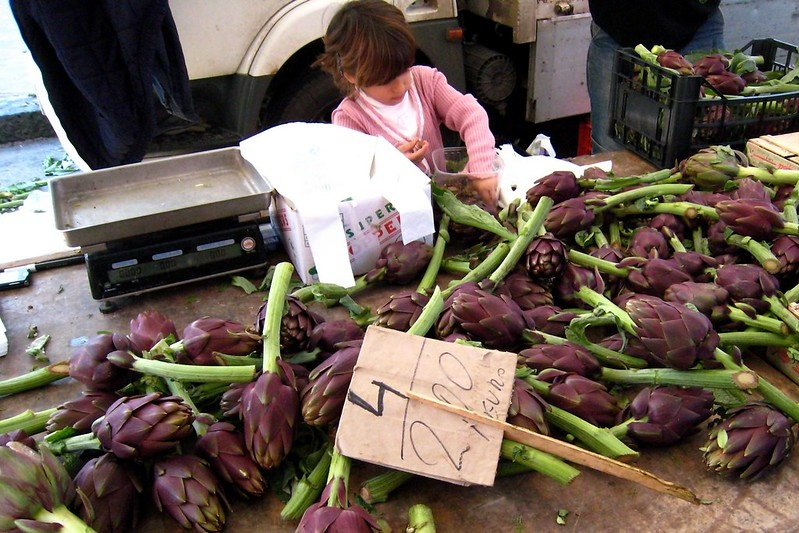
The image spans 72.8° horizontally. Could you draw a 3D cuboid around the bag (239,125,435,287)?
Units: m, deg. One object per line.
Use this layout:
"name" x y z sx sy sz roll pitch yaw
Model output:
"bag" -0.213 -0.260 1.881 0.535 0.245 0.668 -19 51 -20
